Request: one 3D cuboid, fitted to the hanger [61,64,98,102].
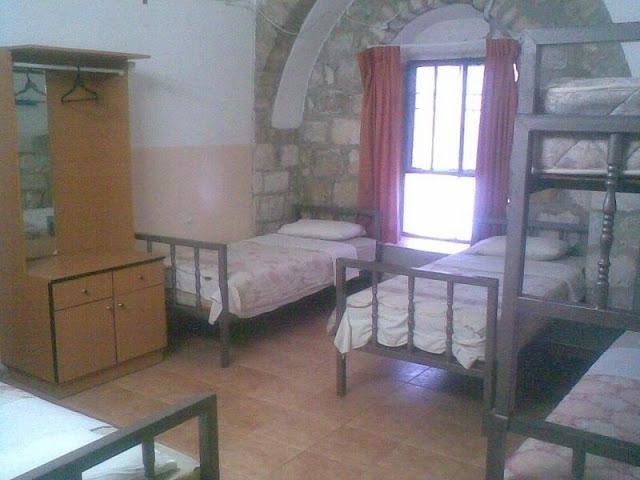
[{"bbox_3d":[-0.930,-0.594,2.129,0.178,0.123,0.017,1,3,21],"label":"hanger"}]

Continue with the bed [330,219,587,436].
[{"bbox_3d":[0.778,0.290,2.851,0.791,0.669,1.319,6,11,33],"label":"bed"}]

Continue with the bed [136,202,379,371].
[{"bbox_3d":[-0.292,0.193,3.413,0.769,0.567,1.269,7,12,36],"label":"bed"}]

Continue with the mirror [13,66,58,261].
[{"bbox_3d":[-0.956,-0.231,1.853,0.105,0.673,0.421,-3,14,-27],"label":"mirror"}]
